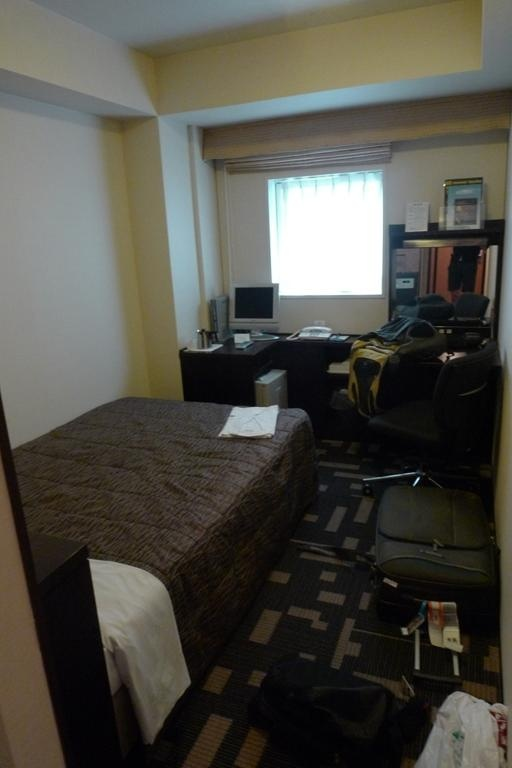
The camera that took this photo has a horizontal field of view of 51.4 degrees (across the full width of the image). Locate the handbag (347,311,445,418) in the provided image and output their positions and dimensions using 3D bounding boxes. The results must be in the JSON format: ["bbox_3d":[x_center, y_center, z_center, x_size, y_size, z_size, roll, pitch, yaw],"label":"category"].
[{"bbox_3d":[0.910,-0.127,3.486,0.560,0.603,0.453,-6,18,-25],"label":"handbag"}]

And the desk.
[{"bbox_3d":[0.078,0.016,4.120,1.042,0.781,0.771,3,16,16],"label":"desk"}]

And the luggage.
[{"bbox_3d":[0.754,0.720,2.234,0.477,0.328,0.563,1,14,16],"label":"luggage"}]

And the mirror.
[{"bbox_3d":[1.288,-0.725,3.691,0.441,0.451,0.153,5,11,28],"label":"mirror"}]

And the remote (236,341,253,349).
[{"bbox_3d":[-0.084,-0.298,4.080,0.129,0.028,0.245,-4,11,3],"label":"remote"}]

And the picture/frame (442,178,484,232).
[{"bbox_3d":[1.404,-1.164,3.616,0.250,0.367,0.190,3,-10,21],"label":"picture/frame"}]

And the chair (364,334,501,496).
[{"bbox_3d":[0.980,0.190,3.018,0.597,0.948,0.591,13,28,34],"label":"chair"}]
